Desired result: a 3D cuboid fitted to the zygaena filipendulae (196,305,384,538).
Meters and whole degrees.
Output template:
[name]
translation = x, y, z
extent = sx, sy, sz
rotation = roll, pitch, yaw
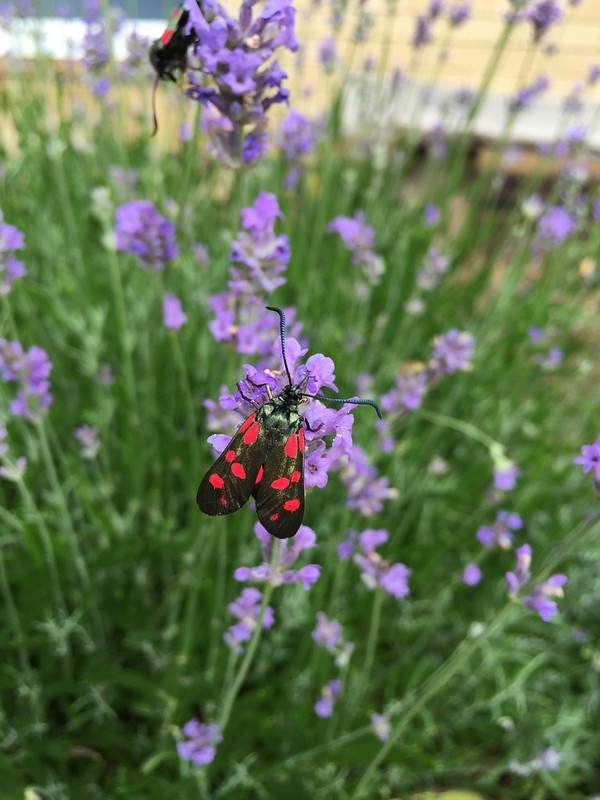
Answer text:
[zygaena filipendulae]
translation = 0.012, 0.016, 0.953
extent = 0.225, 0.295, 0.075
rotation = 29, 12, 15
